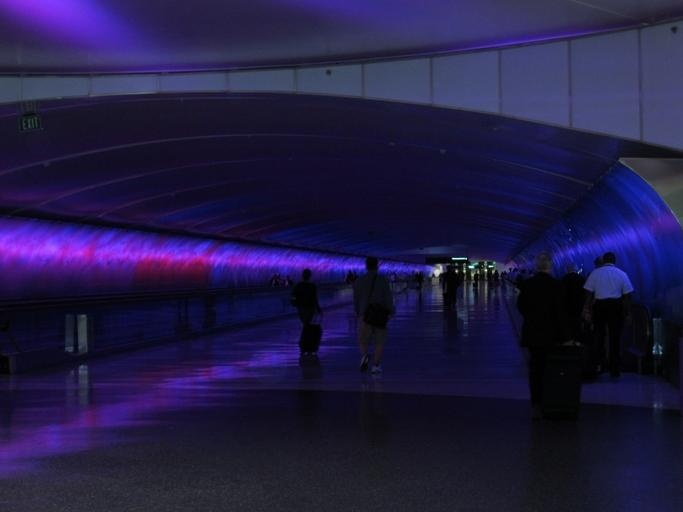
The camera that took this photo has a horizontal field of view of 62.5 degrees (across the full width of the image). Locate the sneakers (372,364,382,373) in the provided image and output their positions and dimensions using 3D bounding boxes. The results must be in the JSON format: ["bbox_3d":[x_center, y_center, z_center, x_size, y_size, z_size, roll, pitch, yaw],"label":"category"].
[{"bbox_3d":[0.632,1.977,9.886,0.123,0.174,0.175,0,-7,4],"label":"sneakers"}]

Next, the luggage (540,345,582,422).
[{"bbox_3d":[2.599,1.468,6.574,0.577,0.679,0.214,-9,-6,9],"label":"luggage"}]
